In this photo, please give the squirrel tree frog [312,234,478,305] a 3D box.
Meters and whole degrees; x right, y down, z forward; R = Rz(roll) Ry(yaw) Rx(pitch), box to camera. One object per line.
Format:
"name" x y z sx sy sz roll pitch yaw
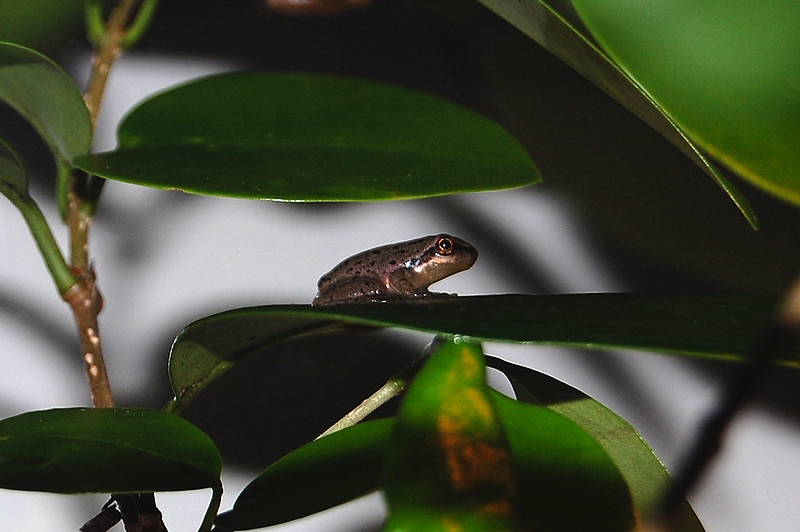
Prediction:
"squirrel tree frog" -0.007 0.007 1.946 0.263 0.094 0.200 -5 -1 0
